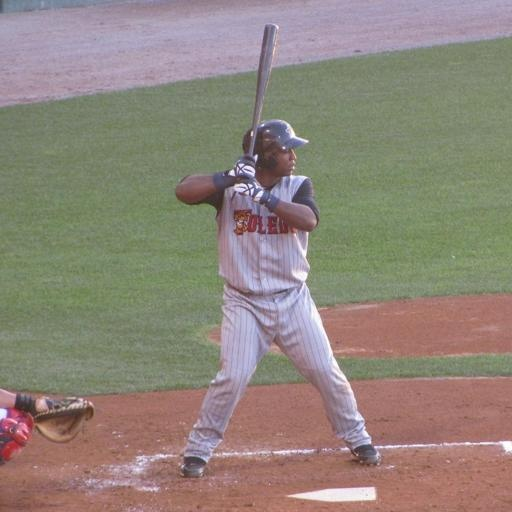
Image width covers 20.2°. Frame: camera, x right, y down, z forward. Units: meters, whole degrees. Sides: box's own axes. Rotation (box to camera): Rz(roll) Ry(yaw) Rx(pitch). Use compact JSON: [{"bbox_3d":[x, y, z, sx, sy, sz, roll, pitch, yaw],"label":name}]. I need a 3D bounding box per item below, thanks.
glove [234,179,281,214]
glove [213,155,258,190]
[{"bbox_3d":[0.000,-0.631,15.074,0.473,0.316,0.172,3,16,2],"label":"glove"},{"bbox_3d":[-0.212,-0.876,15.144,0.349,0.369,0.380,-11,27,-27],"label":"glove"}]
